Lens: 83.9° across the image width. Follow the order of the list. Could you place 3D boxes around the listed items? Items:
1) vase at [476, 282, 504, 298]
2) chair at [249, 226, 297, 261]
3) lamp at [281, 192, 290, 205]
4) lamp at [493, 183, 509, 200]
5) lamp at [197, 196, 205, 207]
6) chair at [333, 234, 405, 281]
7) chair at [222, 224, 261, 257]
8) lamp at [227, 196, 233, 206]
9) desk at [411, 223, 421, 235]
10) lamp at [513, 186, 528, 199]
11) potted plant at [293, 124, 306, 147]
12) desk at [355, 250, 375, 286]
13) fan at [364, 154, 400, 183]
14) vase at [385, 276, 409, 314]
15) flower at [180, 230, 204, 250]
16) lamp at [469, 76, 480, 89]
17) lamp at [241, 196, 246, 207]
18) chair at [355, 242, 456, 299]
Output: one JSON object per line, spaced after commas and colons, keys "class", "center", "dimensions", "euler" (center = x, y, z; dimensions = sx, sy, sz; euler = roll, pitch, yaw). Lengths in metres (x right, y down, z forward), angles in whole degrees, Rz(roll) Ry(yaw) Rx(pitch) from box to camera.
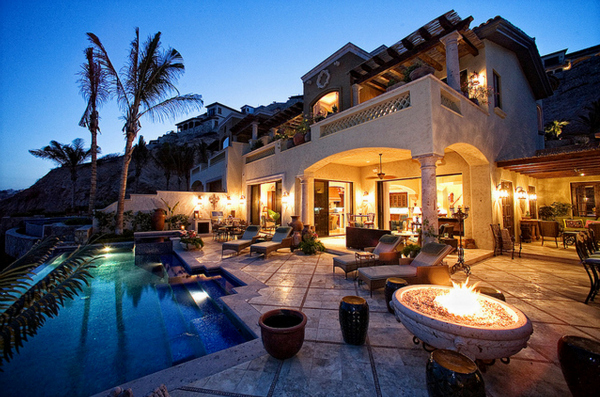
{"class": "vase", "center": [6.408, 3.195, 11.321], "dimensions": [0.944, 0.481, 0.687], "euler": [-1, -5, 10]}
{"class": "chair", "center": [-1.346, 2.145, 16.422], "dimensions": [1.158, 1.268, 2.159], "euler": [-1, 2, 34]}
{"class": "lamp", "center": [-0.841, 0.007, 19.943], "dimensions": [0.281, 0.833, 0.648], "euler": [2, -6, -31]}
{"class": "lamp", "center": [10.244, -0.357, 17.099], "dimensions": [0.984, 1.046, 0.833], "euler": [0, -1, 31]}
{"class": "lamp", "center": [-6.783, 0.181, 23.069], "dimensions": [0.406, 0.600, 0.146], "euler": [-1, -6, 1]}
{"class": "chair", "center": [2.848, 2.409, 14.078], "dimensions": [2.675, 1.551, 1.655], "euler": [-2, -1, -13]}
{"class": "chair", "center": [-2.830, 2.122, 16.815], "dimensions": [1.106, 1.268, 1.960], "euler": [0, 2, 23]}
{"class": "lamp", "center": [-4.976, 0.193, 23.766], "dimensions": [0.391, 0.570, 0.161], "euler": [-8, 12, -28]}
{"class": "desk", "center": [6.260, 1.638, 18.061], "dimensions": [0.657, 0.651, 0.647], "euler": [0, -2, -20]}
{"class": "lamp", "center": [11.963, -0.326, 18.187], "dimensions": [0.801, 0.661, 0.394], "euler": [4, -6, -39]}
{"class": "potted plant", "center": [-0.059, -3.560, 19.218], "dimensions": [0.868, 0.773, 0.950], "euler": [0, -2, -1]}
{"class": "desk", "center": [2.713, 2.778, 14.095], "dimensions": [0.868, 1.164, 0.850], "euler": [2, 15, -25]}
{"class": "fan", "center": [4.455, -1.751, 18.407], "dimensions": [1.177, 1.608, 1.308], "euler": [9, -14, -34]}
{"class": "vase", "center": [3.327, 3.423, 11.644], "dimensions": [0.749, 1.239, 0.753], "euler": [-2, -5, 18]}
{"class": "flower", "center": [-5.527, 2.191, 17.513], "dimensions": [1.030, 0.743, 1.018], "euler": [-2, -4, 41]}
{"class": "lamp", "center": [8.716, -5.858, 16.663], "dimensions": [0.457, 0.752, 0.417], "euler": [-4, -6, 37]}
{"class": "lamp", "center": [-4.001, 0.195, 23.580], "dimensions": [0.287, 0.696, 0.752], "euler": [4, -6, -42]}
{"class": "chair", "center": [3.997, 2.745, 13.191], "dimensions": [3.214, 1.838, 1.833], "euler": [1, -3, -12]}
